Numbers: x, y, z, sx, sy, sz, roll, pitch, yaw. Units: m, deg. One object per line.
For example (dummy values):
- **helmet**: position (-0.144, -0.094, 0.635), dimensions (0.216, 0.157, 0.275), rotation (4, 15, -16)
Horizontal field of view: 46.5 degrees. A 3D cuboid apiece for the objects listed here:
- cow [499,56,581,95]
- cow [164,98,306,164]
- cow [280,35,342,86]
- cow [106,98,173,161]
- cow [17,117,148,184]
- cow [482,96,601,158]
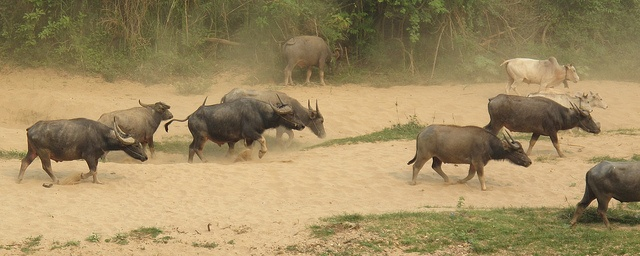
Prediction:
- **cow**: position (13.478, -3.273, 46.086), dimensions (4.076, 2.275, 1.072), rotation (2, 10, 8)
- **cow**: position (-4.203, -0.434, 42.413), dimensions (9.254, 3.136, 2.386), rotation (-3, 7, -6)
- **cow**: position (-0.494, -4.533, 49.032), dimensions (1.660, 2.669, 5.718), rotation (8, 9, 41)
- **cow**: position (-10.517, 0.278, 41.228), dimensions (2.011, 2.763, 6.150), rotation (9, 15, 27)
- **cow**: position (-12.145, 1.257, 38.802), dimensions (7.732, 2.760, 1.706), rotation (-2, -7, 12)
- **cow**: position (14.607, -0.613, 43.259), dimensions (10.983, 3.888, 2.182), rotation (3, 3, -1)
